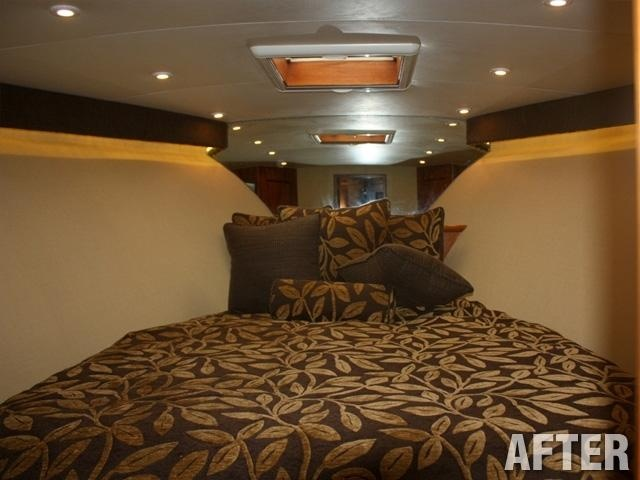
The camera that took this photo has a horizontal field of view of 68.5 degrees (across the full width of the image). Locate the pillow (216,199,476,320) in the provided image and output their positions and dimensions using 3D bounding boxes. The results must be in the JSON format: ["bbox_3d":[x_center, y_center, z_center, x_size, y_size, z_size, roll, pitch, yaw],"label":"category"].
[{"bbox_3d":[0.109,0.109,2.792,1.427,0.648,0.863,-1,9,7],"label":"pillow"}]

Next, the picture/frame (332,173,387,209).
[{"bbox_3d":[0.278,-0.356,3.304,0.358,0.234,0.035,-1,11,1],"label":"picture/frame"}]
